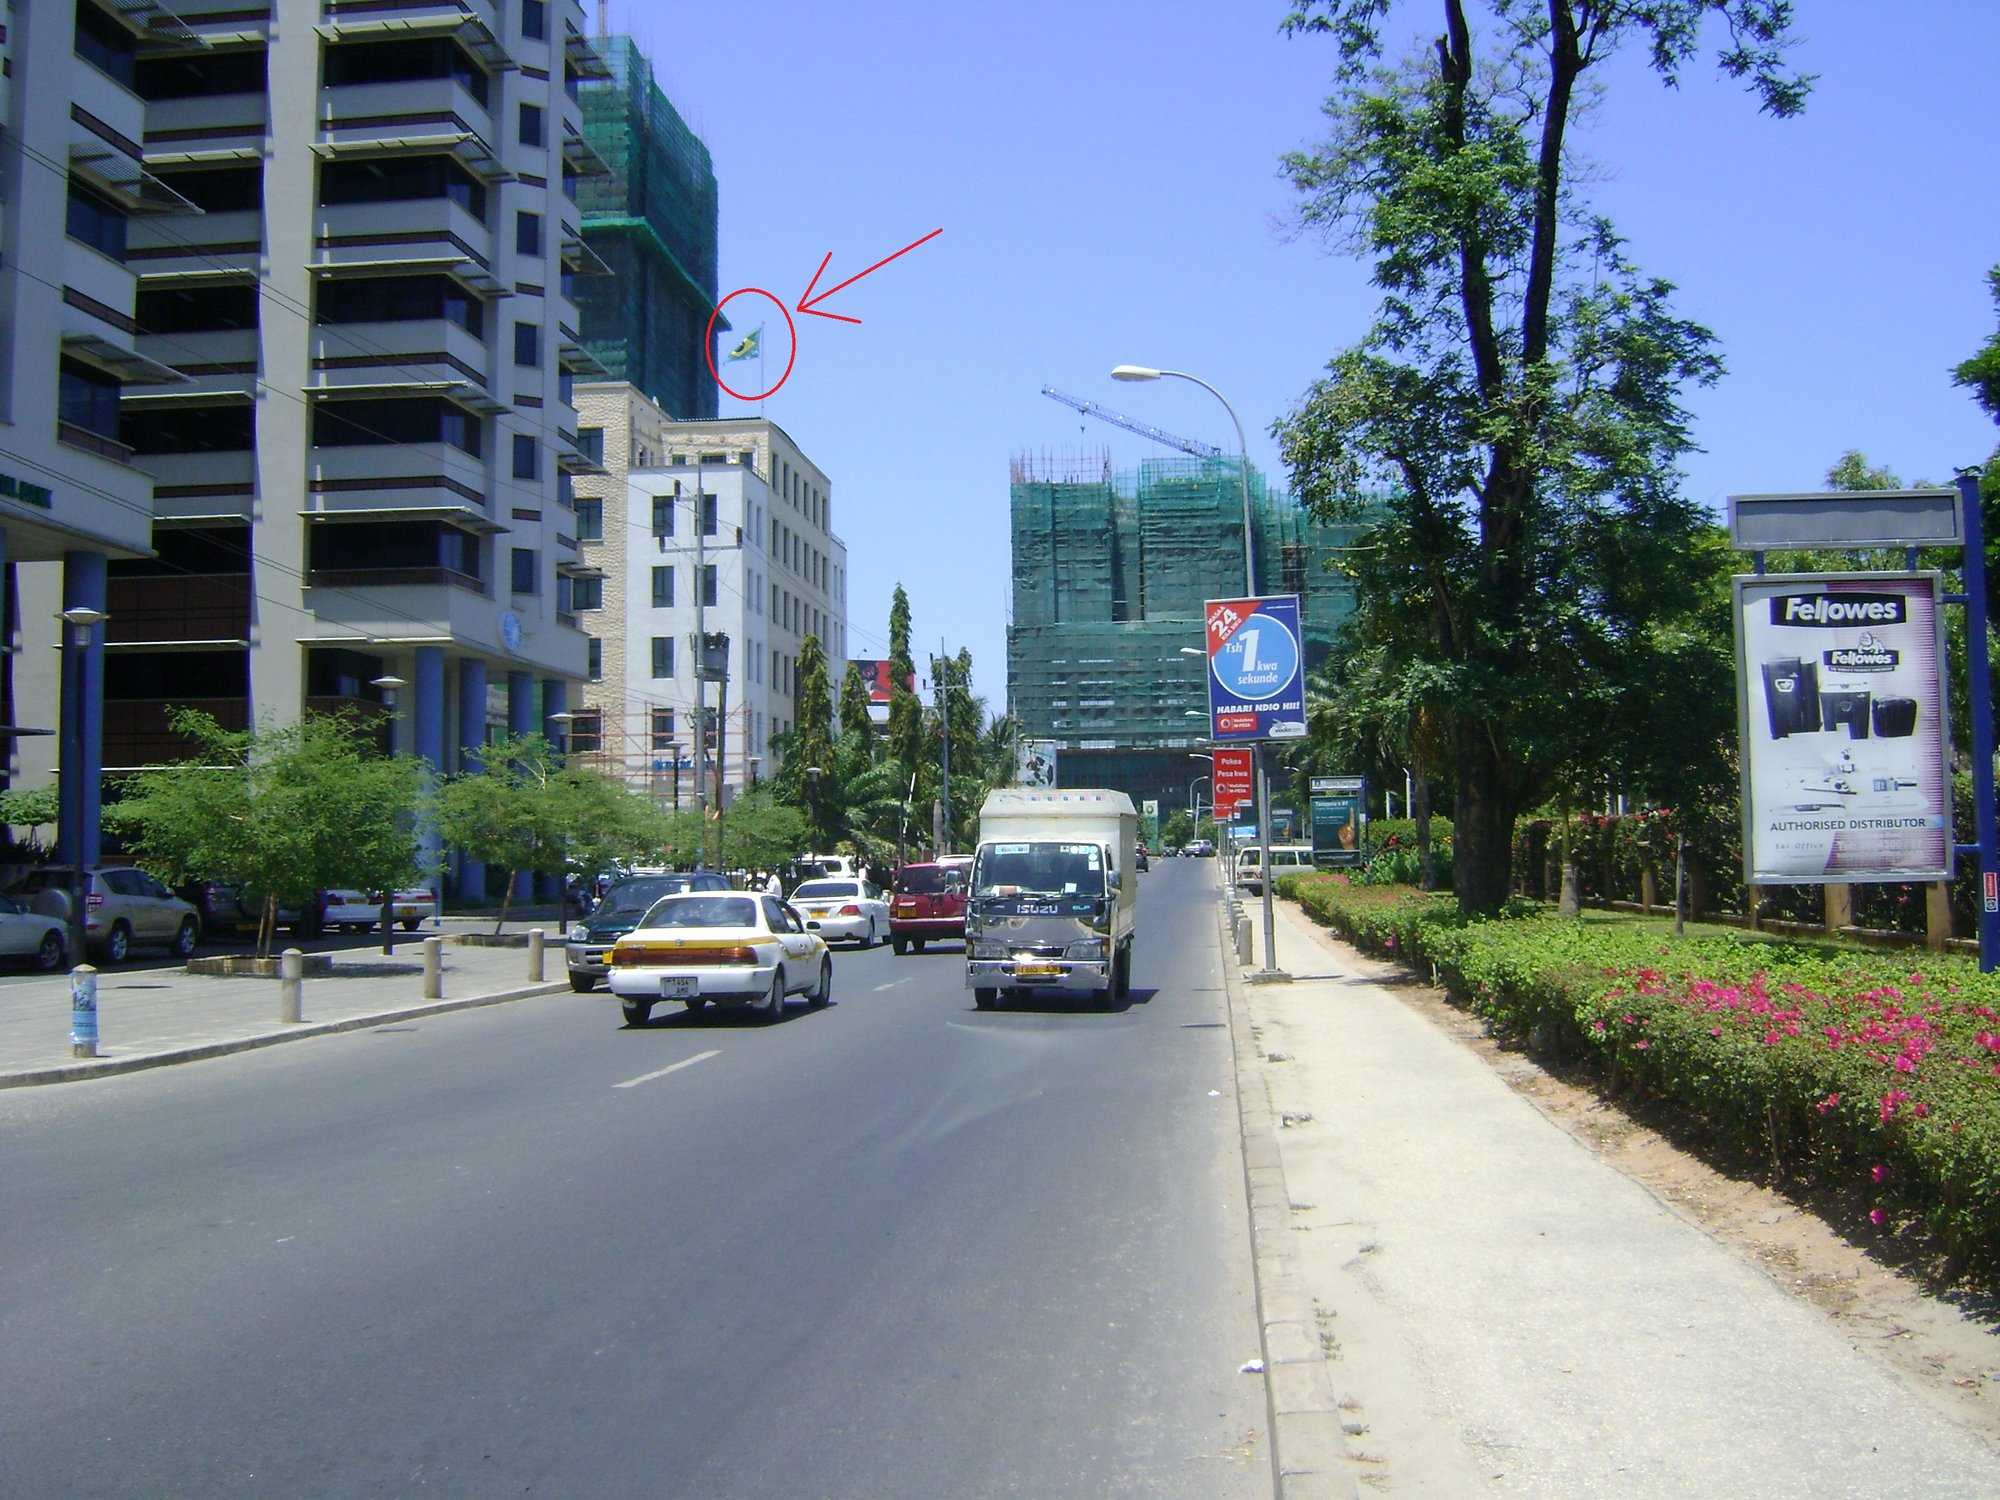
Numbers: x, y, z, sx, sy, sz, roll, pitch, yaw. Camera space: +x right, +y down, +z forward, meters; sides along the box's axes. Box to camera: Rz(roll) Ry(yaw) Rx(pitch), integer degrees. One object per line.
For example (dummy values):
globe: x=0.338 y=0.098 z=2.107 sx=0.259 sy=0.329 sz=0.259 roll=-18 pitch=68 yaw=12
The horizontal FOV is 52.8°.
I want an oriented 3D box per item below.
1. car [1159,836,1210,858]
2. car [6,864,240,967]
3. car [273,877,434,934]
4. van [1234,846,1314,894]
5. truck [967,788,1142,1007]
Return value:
car: x=19.031 y=9.563 z=203.384 sx=2.978 sy=1.756 sz=1.917 roll=-4 pitch=-3 yaw=24
car: x=-16.260 y=2.981 z=36.852 sx=1.529 sy=1.496 sz=3.617 roll=-1 pitch=-3 yaw=13
car: x=-13.797 y=3.316 z=42.985 sx=2.778 sy=1.055 sz=1.379 roll=-3 pitch=2 yaw=-27
van: x=9.456 y=4.147 z=69.365 sx=1.699 sy=1.584 sz=2.947 roll=2 pitch=-9 yaw=-38
truck: x=0.722 y=2.072 z=28.331 sx=1.582 sy=2.276 sz=3.539 roll=-1 pitch=-7 yaw=7
